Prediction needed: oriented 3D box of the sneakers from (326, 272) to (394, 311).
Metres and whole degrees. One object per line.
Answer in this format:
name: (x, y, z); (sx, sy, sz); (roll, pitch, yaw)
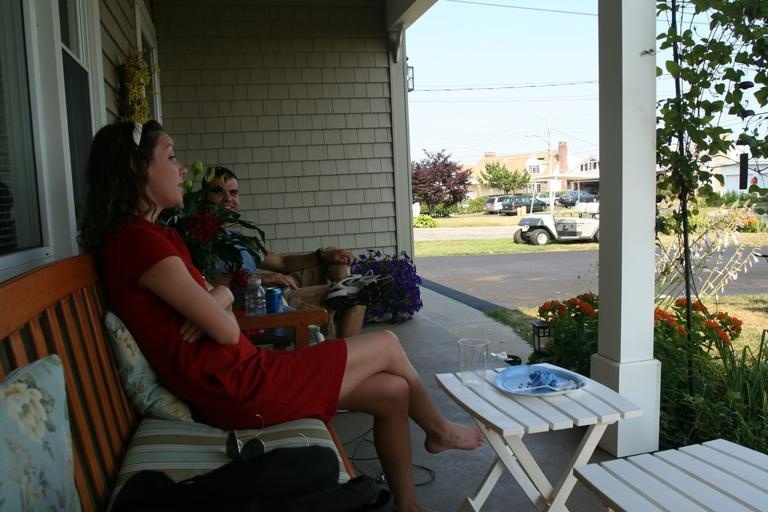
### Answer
sneakers: (-0.197, 0.221, 3.719); (0.475, 0.233, 0.183); (-17, -2, 13)

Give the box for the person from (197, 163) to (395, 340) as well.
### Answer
person: (-0.730, 0.104, 4.311); (0.965, 1.711, 0.633); (-22, 12, -12)

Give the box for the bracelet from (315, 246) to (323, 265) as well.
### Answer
bracelet: (-0.493, -0.003, 4.397); (0.071, 0.110, 0.101); (1, 0, -4)
